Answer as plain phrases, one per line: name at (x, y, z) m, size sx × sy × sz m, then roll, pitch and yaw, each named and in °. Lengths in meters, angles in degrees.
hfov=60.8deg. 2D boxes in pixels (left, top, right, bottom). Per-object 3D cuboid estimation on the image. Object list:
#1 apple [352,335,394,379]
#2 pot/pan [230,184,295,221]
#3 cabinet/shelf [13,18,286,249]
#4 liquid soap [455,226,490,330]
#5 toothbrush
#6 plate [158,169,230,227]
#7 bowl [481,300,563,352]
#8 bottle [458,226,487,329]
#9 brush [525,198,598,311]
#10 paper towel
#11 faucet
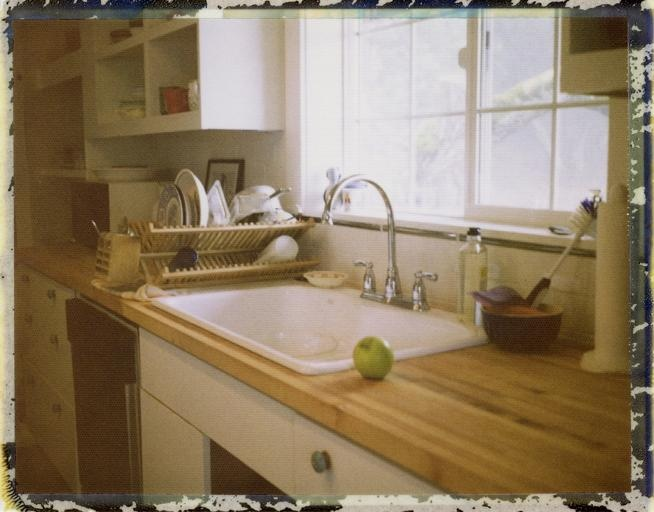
apple at (0.065, 0.141, 0.807) m, size 0.067 × 0.065 × 0.061 m, roll -2°, pitch 0°, yaw -4°
pot/pan at (-0.164, -0.126, 1.305) m, size 0.128 × 0.058 × 0.082 m, roll 0°, pitch -1°, yaw 29°
cabinet/shelf at (-0.318, -0.234, 0.974) m, size 0.153 × 0.352 × 0.456 m, roll -3°, pitch 6°, yaw -37°
liquid soap at (0.251, 0.034, 0.957) m, size 0.060 × 0.171 × 0.023 m, roll -2°, pitch 8°, yaw -5°
toothbrush at (0.402, 0.007, 0.953) m, size 0.044 × 0.240 × 0.069 m, roll 29°, pitch 16°, yaw -38°
plate at (-0.301, -0.131, 1.247) m, size 0.113 × 0.113 × 0.136 m, roll -8°, pitch 16°, yaw -44°
bowl at (0.312, 0.113, 0.897) m, size 0.124 × 0.071 × 0.066 m, roll 0°, pitch 7°, yaw 13°
bottle at (0.249, 0.028, 0.959) m, size 0.052 × 0.154 × 0.065 m, roll 8°, pitch 11°, yaw 11°
brush at (0.397, -0.009, 0.934) m, size 0.039 × 0.229 × 0.064 m, roll 21°, pitch 40°, yaw 12°
paper towel at (0.477, 0.045, 0.905) m, size 0.083 × 0.296 × 0.075 m, roll 0°, pitch 1°, yaw 10°
faucet at (0.051, -0.038, 1.010) m, size 0.135 × 0.228 × 0.121 m, roll 9°, pitch 13°, yaw 42°
